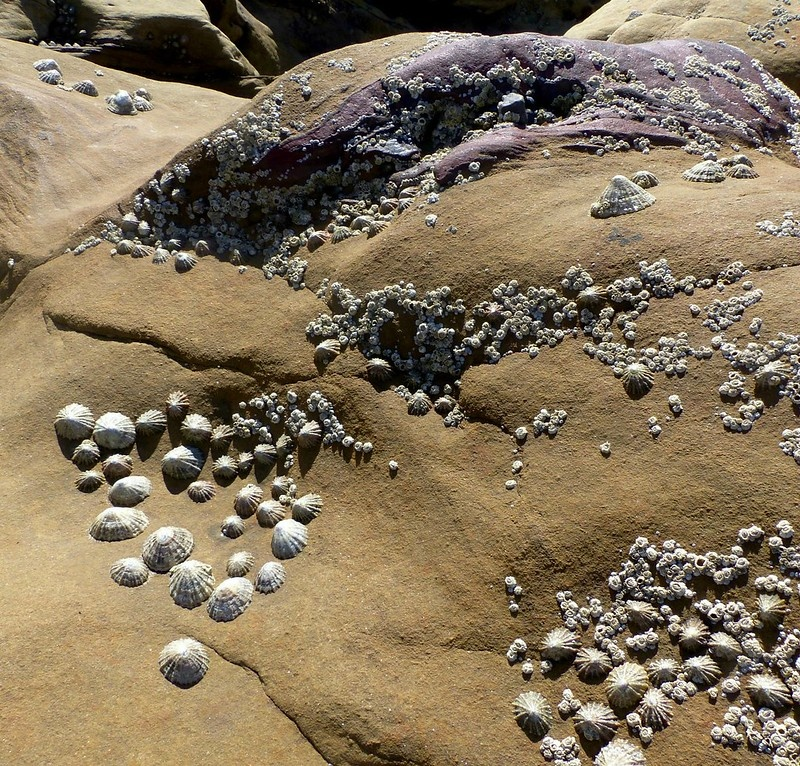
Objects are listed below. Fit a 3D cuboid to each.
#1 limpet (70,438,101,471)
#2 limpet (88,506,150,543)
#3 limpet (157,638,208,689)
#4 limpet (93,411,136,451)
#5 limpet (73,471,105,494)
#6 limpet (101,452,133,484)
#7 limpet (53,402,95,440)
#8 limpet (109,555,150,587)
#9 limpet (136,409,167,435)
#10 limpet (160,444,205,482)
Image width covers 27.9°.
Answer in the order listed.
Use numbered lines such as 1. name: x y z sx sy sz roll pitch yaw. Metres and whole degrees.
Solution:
1. limpet: -2.879 0.633 14.629 0.227 0.161 0.262 22 56 42
2. limpet: -2.498 1.233 14.105 0.332 0.148 0.351 14 35 15
3. limpet: -1.811 2.313 13.354 0.419 0.233 0.332 -22 38 1
4. limpet: -2.636 0.442 14.698 0.393 0.244 0.297 -23 38 0
5. limpet: -2.821 0.873 14.482 0.268 0.106 0.198 -17 38 8
6. limpet: -2.571 0.748 14.503 0.231 0.077 0.261 -8 66 -3
7. limpet: -3.033 0.358 14.790 0.389 0.229 0.289 -17 38 6
8. limpet: -2.346 1.620 13.815 0.327 0.165 0.228 -19 38 5
9. limpet: -2.302 0.347 14.745 0.268 0.162 0.237 -9 40 16
10. limpet: -1.967 0.720 14.473 0.394 0.245 0.228 -30 38 -10
